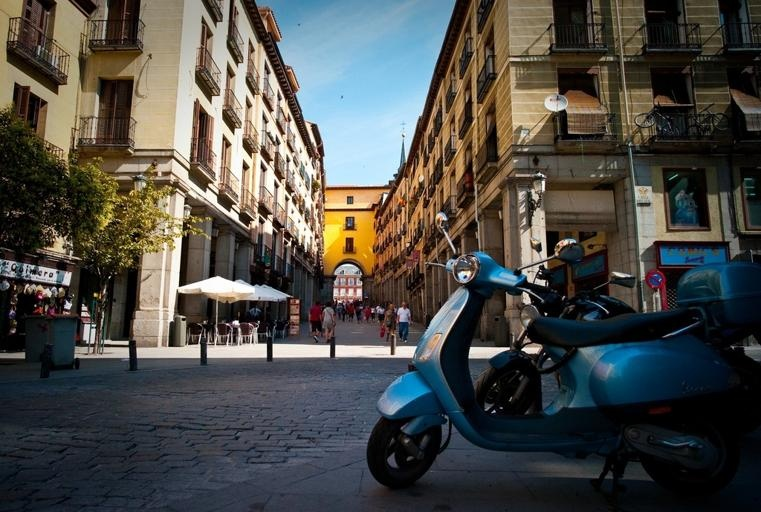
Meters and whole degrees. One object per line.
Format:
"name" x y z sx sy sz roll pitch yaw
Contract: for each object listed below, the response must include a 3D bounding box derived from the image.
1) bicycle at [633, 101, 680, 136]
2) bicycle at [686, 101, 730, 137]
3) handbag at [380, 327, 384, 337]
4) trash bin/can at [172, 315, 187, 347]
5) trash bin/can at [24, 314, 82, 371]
"bicycle" 9.818 -4.862 20.043 1.396 1.170 0.749 0 1 23
"bicycle" 11.699 -4.838 20.105 1.716 1.092 0.904 -5 -3 4
"handbag" 0.030 3.476 25.523 0.135 0.573 0.329 9 1 7
"trash bin/can" -7.240 2.704 20.016 0.488 1.082 0.647 -1 1 -21
"trash bin/can" -7.641 2.012 13.038 1.095 1.302 0.744 -1 1 -20
